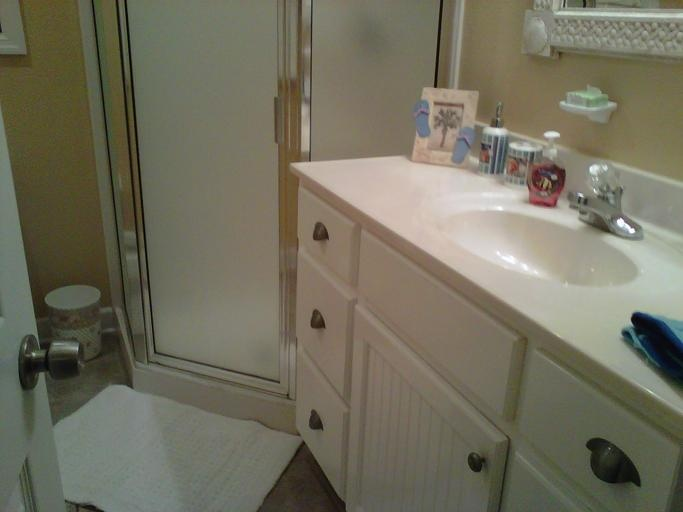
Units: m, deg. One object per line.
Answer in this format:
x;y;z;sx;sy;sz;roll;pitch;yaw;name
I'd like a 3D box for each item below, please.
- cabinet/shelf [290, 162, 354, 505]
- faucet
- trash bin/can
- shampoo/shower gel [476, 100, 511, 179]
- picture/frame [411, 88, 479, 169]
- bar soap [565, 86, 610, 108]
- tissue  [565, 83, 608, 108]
-0.061;0.234;1.587;0.099;0.806;0.435;-6;23;-17;cabinet/shelf
0.624;-0.147;1.260;0.163;0.124;0.219;16;28;29;faucet
-1.209;0.315;2.515;0.241;0.294;0.327;-13;27;-30;trash bin/can
0.430;-0.332;1.530;0.068;0.206;0.075;2;16;0;shampoo/shower gel
0.307;-0.374;1.611;0.189;0.271;0.011;12;5;18;picture/frame
0.614;-0.403;1.358;0.091;0.043;0.105;19;30;33;bar soap
0.598;-0.412;1.329;0.066;0.049;0.072;-18;29;-30;tissue 
